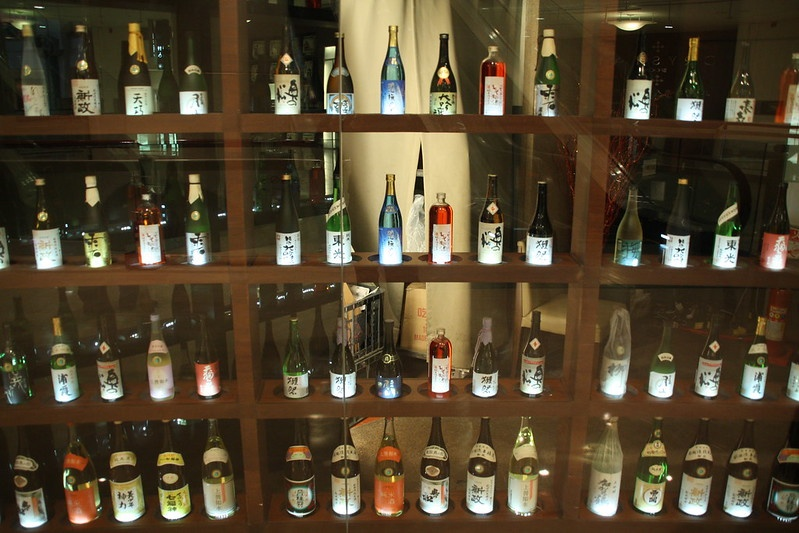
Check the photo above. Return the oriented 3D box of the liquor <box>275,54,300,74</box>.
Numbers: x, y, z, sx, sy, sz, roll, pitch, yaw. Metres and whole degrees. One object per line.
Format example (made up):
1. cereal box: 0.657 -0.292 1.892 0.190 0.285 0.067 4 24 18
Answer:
1. liquor: -0.297 -0.534 1.847 0.064 0.019 0.054 -2 -62 -1

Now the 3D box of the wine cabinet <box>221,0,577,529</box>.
1. wine cabinet: 0.001 -0.083 1.948 0.943 0.449 1.196 -1 -62 -1
